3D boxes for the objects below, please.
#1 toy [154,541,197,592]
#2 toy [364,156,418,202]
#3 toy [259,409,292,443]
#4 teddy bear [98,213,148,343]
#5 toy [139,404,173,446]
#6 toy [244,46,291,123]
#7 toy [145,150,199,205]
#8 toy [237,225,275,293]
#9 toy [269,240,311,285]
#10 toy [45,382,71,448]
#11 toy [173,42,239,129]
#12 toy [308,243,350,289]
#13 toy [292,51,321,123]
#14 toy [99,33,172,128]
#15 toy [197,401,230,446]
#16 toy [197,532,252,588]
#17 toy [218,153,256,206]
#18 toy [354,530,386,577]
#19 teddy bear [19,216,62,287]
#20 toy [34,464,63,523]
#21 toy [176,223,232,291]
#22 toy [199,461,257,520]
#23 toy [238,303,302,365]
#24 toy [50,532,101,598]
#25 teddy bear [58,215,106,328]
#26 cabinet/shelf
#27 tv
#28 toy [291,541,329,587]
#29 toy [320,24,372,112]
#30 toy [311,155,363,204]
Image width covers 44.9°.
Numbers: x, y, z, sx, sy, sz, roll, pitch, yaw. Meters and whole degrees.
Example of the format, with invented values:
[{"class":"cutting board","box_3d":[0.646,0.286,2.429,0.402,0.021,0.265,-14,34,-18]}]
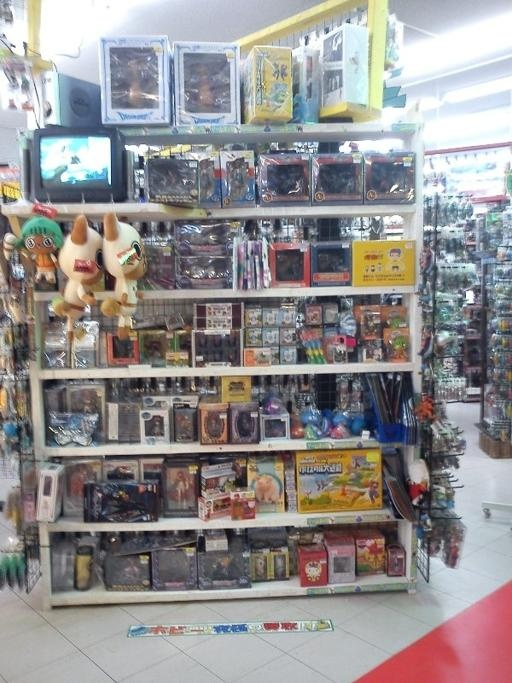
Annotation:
[{"class":"toy","box_3d":[-0.441,1.228,3.343,0.256,0.231,0.089,0,-3,-3]},{"class":"toy","box_3d":[0.733,-0.889,3.306,0.291,0.263,0.230,10,30,29]},{"class":"toy","box_3d":[0.103,0.473,3.415,0.246,0.218,0.131,0,0,-4]},{"class":"teddy bear","box_3d":[-0.646,-0.309,3.033,0.213,0.580,0.482,-2,5,-10]},{"class":"toy","box_3d":[-0.544,0.461,3.370,0.215,0.246,0.095,0,-2,-1]},{"class":"toy","box_3d":[0.050,-1.303,3.153,0.189,0.321,0.335,-3,16,-10]},{"class":"toy","box_3d":[-0.424,-0.806,3.070,0.286,0.199,0.276,-8,22,-22]},{"class":"toy","box_3d":[-0.027,-0.405,3.282,0.223,0.261,0.270,-3,-7,5]},{"class":"toy","box_3d":[0.177,-0.416,3.308,0.239,0.214,0.056,1,4,-7]},{"class":"toy","box_3d":[-1.088,0.419,3.405,0.107,0.276,0.328,-3,1,-5]},{"class":"toy","box_3d":[-0.278,-1.252,3.028,0.418,0.402,0.142,-20,34,-38]},{"class":"toy","box_3d":[0.379,-0.406,3.313,0.253,0.250,0.136,0,-1,-2]},{"class":"toy","box_3d":[0.252,-1.289,3.126,0.142,0.355,0.110,-1,5,3]},{"class":"toy","box_3d":[-0.571,-1.231,2.931,0.485,0.474,0.170,-1,16,0]},{"class":"toy","box_3d":[-0.225,0.448,3.315,0.202,0.266,0.198,0,-2,-1]},{"class":"toy","box_3d":[-0.182,1.183,3.458,0.289,0.269,0.282,0,-3,-8]},{"class":"toy","box_3d":[-0.126,-0.865,3.270,0.239,0.267,0.238,-3,18,-4]},{"class":"toy","box_3d":[0.640,1.199,3.469,0.208,0.197,0.206,-1,5,1]},{"class":"teddy bear","box_3d":[-1.042,-0.465,3.019,0.193,0.309,0.398,-3,5,-18]},{"class":"toy","box_3d":[-1.101,0.803,3.268,0.119,0.266,0.301,2,-4,-7]},{"class":"toy","box_3d":[-0.275,-0.457,3.307,0.279,0.344,0.088,-1,5,8]},{"class":"toy","box_3d":[-0.183,0.824,3.390,0.276,0.272,0.255,-4,6,-23]},{"class":"toy","box_3d":[0.084,-0.036,3.380,0.301,0.306,0.312,3,3,38]},{"class":"toy","box_3d":[-1.006,1.199,3.512,0.235,0.287,0.401,-2,-1,-5]},{"class":"teddy bear","box_3d":[-0.852,-0.357,3.010,0.289,0.651,0.334,-2,26,-16]},{"class":"cabinet/shelf","box_3d":[-0.211,0.162,3.295,2.599,2.931,0.894,-1,9,-2]},{"class":"tv","box_3d":[-0.835,-0.834,2.897,0.377,0.270,0.355,0,4,-5]},{"class":"toy","box_3d":[0.308,1.230,3.451,0.167,0.207,0.217,0,-5,2]},{"class":"toy","box_3d":[0.460,-1.354,3.112,0.214,0.352,0.226,-7,15,-24]},{"class":"toy","box_3d":[0.418,-0.847,3.309,0.306,0.267,0.242,-1,4,-9]}]
